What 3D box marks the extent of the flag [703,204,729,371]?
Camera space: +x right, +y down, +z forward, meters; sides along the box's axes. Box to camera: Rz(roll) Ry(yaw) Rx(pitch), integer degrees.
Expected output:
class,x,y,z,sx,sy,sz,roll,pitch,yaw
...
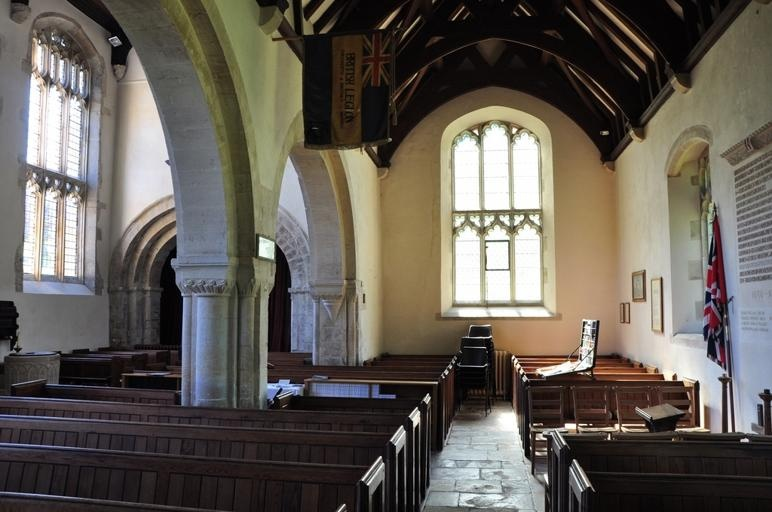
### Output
class,x,y,z,sx,sy,sz,roll,pitch,yaw
flag,4.835,0.453,9.795,0.280,2.378,0.415,-3,-8,15

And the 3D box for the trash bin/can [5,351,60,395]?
class,x,y,z,sx,sy,sz,roll,pitch,yaw
trash bin/can,-5.342,1.778,10.102,0.611,0.705,0.622,0,-9,-6

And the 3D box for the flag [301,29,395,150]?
class,x,y,z,sx,sy,sz,roll,pitch,yaw
flag,-0.495,-2.220,8.791,1.533,1.832,0.197,-1,-4,3
